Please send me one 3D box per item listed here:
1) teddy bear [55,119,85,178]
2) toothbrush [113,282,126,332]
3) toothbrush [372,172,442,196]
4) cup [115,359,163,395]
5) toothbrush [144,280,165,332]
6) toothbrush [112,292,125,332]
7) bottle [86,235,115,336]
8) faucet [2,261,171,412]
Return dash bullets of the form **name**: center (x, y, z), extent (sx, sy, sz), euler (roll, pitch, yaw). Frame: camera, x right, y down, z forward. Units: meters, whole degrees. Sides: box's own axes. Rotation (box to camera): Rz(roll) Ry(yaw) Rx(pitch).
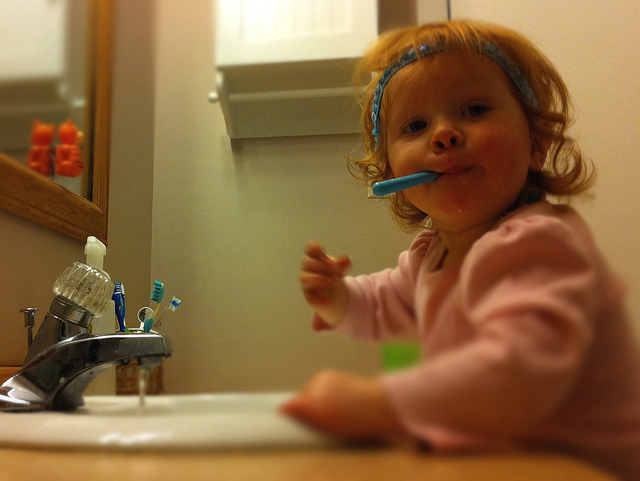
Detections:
- **teddy bear**: center (-0.385, -0.144, 0.934), extent (0.048, 0.096, 0.044), euler (-3, 1, 0)
- **toothbrush**: center (-0.264, 0.089, 0.796), extent (0.013, 0.061, 0.008), euler (-1, -3, -38)
- **toothbrush**: center (0.093, -0.059, 0.625), extent (0.068, 0.014, 0.011), euler (-15, 26, -21)
- **cup**: center (-0.232, 0.178, 0.778), extent (0.048, 0.028, 0.064), euler (-1, -11, -1)
- **toothbrush**: center (-0.212, 0.077, 0.775), extent (0.019, 0.079, 0.009), euler (14, 17, -17)
- **toothbrush**: center (-0.266, 0.090, 0.796), extent (0.005, 0.062, 0.011), euler (-6, 2, -35)
- **bottle**: center (-0.285, 0.058, 0.784), extent (0.032, 0.136, 0.094), euler (-3, 1, -21)
- **faucet**: center (-0.260, 0.138, 0.810), extent (0.235, 0.171, 0.126), euler (-5, -13, 10)
